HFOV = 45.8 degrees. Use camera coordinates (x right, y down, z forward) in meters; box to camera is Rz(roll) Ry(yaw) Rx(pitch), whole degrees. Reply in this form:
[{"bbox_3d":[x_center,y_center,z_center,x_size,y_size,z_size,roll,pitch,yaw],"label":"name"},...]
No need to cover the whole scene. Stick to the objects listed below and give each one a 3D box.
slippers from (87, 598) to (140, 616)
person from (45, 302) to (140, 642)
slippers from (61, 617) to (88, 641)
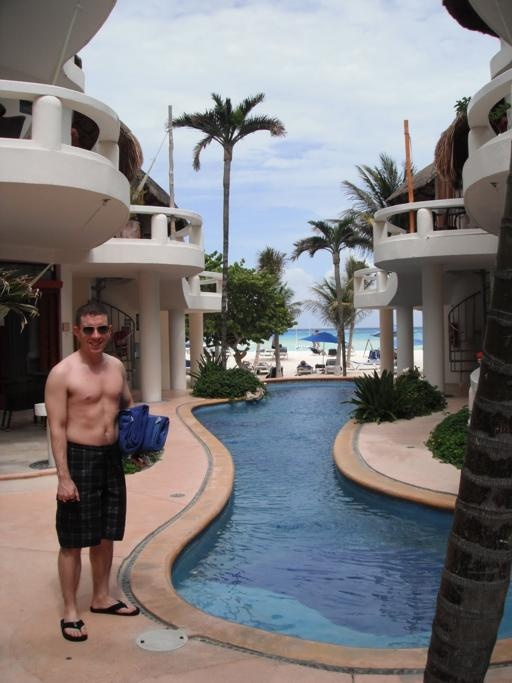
[{"bbox_3d":[-0.849,1.593,3.671,0.198,0.057,0.109,0,-5,3],"label":"slippers"},{"bbox_3d":[-0.974,0.716,3.531,0.409,1.867,0.603,2,4,25],"label":"person"},{"bbox_3d":[-1.003,1.583,3.338,0.119,0.083,0.222,-2,4,-28],"label":"slippers"}]
